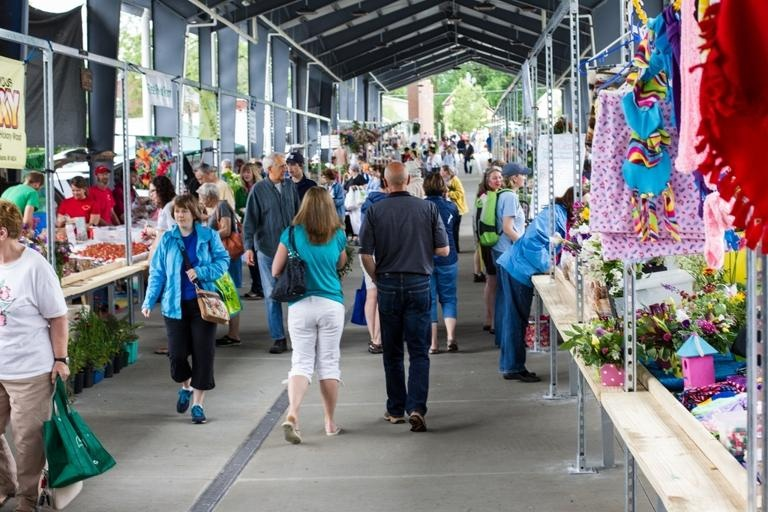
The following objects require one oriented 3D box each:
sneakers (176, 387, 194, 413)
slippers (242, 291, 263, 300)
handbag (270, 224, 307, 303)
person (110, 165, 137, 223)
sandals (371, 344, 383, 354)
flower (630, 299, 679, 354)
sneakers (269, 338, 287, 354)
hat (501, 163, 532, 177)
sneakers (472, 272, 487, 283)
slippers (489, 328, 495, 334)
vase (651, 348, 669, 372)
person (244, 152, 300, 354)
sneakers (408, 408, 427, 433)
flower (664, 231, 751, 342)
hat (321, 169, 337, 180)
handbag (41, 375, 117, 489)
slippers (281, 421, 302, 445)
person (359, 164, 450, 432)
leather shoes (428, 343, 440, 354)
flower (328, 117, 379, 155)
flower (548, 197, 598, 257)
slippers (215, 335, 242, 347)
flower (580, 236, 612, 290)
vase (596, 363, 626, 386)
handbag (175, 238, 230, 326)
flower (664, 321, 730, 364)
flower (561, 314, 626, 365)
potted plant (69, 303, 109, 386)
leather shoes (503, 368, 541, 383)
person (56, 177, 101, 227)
[{"bbox_3d":[-1.672,1.232,6.274,0.093,0.290,0.108,1,-31,-1],"label":"sneakers"},{"bbox_3d":[-1.990,0.623,11.382,0.293,0.131,0.124,7,-4,-8],"label":"slippers"},{"bbox_3d":[-0.705,0.081,5.601,0.259,0.572,0.287,-2,6,-8],"label":"handbag"},{"bbox_3d":[-3.518,-0.801,10.122,0.287,0.317,0.938,2,-5,-17],"label":"person"},{"bbox_3d":[-0.082,1.026,8.121,0.106,0.138,0.304,0,-8,10],"label":"sandals"},{"bbox_3d":[1.527,0.388,4.177,0.230,0.169,0.263,-10,35,27],"label":"flower"},{"bbox_3d":[-1.150,1.003,8.223,0.092,0.178,0.270,-2,-10,13],"label":"sneakers"},{"bbox_3d":[1.499,-0.967,8.390,0.269,0.108,0.178,-5,10,-23],"label":"hat"},{"bbox_3d":[1.575,0.369,12.326,0.094,0.125,0.273,3,5,22],"label":"sneakers"},{"bbox_3d":[1.290,0.910,8.922,0.064,0.051,0.065,0,-8,-10],"label":"slippers"},{"bbox_3d":[1.534,0.583,4.144,0.100,0.113,0.114,-1,-2,2],"label":"vase"},{"bbox_3d":[-1.125,-0.058,8.258,0.789,2.175,0.582,-2,3,-13],"label":"person"},{"bbox_3d":[0.272,1.294,5.921,0.139,0.167,0.214,-1,7,3],"label":"sneakers"},{"bbox_3d":[1.746,0.190,4.063,0.480,0.570,0.497,8,-5,-24],"label":"flower"},{"bbox_3d":[-1.069,-1.611,14.826,0.185,0.252,0.249,-2,7,-3],"label":"hat"},{"bbox_3d":[-1.774,1.021,4.320,0.383,0.635,0.238,-2,6,-13],"label":"handbag"},{"bbox_3d":[-0.691,1.326,5.600,0.088,0.089,0.237,-7,-41,7],"label":"slippers"},{"bbox_3d":[0.160,0.454,5.910,0.691,1.839,0.356,0,6,4],"label":"person"},{"bbox_3d":[0.545,1.011,8.131,0.094,0.125,0.278,-1,-10,4],"label":"leather shoes"},{"bbox_3d":[-0.786,-3.935,24.894,0.779,1.075,2.091,2,8,20],"label":"flower"},{"bbox_3d":[1.416,-0.200,5.647,0.348,0.413,0.357,18,-2,-33],"label":"flower"},{"bbox_3d":[-1.790,0.983,8.602,0.213,0.093,0.120,3,-2,-12],"label":"slippers"},{"bbox_3d":[1.329,0.049,4.667,0.232,0.243,0.223,24,15,12],"label":"flower"},{"bbox_3d":[1.224,0.647,4.017,0.111,0.120,0.117,1,2,-1],"label":"vase"},{"bbox_3d":[-1.424,0.235,6.016,0.269,0.603,0.335,-6,8,-40],"label":"handbag"},{"bbox_3d":[1.678,0.425,3.968,0.214,0.192,0.310,-1,2,5],"label":"flower"},{"bbox_3d":[1.194,0.473,4.170,0.257,0.149,0.269,2,-4,1],"label":"flower"},{"bbox_3d":[-2.781,0.825,7.096,0.494,0.753,0.636,0,-2,-19],"label":"potted plant"},{"bbox_3d":[1.309,1.128,7.091,0.334,0.150,0.132,-2,-2,15],"label":"leather shoes"},{"bbox_3d":[-4.183,-0.666,10.219,0.515,0.840,0.445,-1,8,-10],"label":"person"}]
